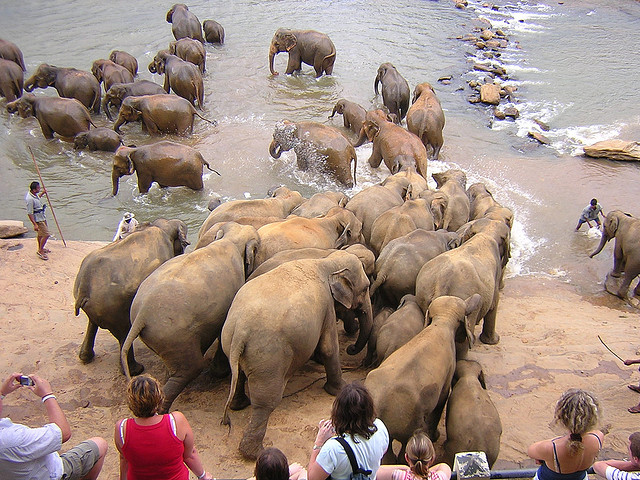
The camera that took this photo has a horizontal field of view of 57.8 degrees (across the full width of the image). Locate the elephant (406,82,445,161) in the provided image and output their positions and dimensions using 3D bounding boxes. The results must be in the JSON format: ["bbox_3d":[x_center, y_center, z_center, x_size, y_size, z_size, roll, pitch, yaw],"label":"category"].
[{"bbox_3d":[2.340,-2.845,12.744,0.637,1.308,2.346,-1,48,9],"label":"elephant"}]

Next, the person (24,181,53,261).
[{"bbox_3d":[-4.317,-0.248,8.911,0.321,1.200,0.537,-8,52,-18],"label":"person"}]

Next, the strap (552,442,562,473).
[{"bbox_3d":[2.121,1.907,5.154,0.041,0.301,0.011,-6,0,-25],"label":"strap"}]

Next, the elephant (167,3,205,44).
[{"bbox_3d":[-3.911,-6.324,16.870,0.625,1.062,1.909,-17,52,-10],"label":"elephant"}]

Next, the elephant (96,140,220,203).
[{"bbox_3d":[-3.047,-1.297,10.596,1.931,1.370,0.677,-4,43,-13],"label":"elephant"}]

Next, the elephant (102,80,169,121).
[{"bbox_3d":[-4.099,-3.035,12.956,1.420,0.989,0.605,0,39,-5],"label":"elephant"}]

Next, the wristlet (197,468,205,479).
[{"bbox_3d":[-1.111,2.213,5.501,0.050,0.079,0.091,21,27,33],"label":"wristlet"}]

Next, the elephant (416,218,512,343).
[{"bbox_3d":[1.887,0.229,7.890,0.756,1.408,2.427,12,34,24],"label":"elephant"}]

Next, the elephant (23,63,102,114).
[{"bbox_3d":[-5.968,-3.446,13.495,1.682,0.995,0.627,15,23,-6],"label":"elephant"}]

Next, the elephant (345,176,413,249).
[{"bbox_3d":[0.930,-0.603,9.316,0.651,1.091,1.465,16,49,29],"label":"elephant"}]

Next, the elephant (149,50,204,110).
[{"bbox_3d":[-3.455,-3.855,13.717,1.515,0.929,0.589,31,42,19],"label":"elephant"}]

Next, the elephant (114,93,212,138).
[{"bbox_3d":[-3.351,-2.593,12.307,1.612,0.985,0.853,2,57,-5],"label":"elephant"}]

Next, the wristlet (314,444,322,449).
[{"bbox_3d":[-0.025,1.814,5.113,0.045,0.033,0.012,0,8,5],"label":"wristlet"}]

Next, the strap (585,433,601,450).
[{"bbox_3d":[2.402,1.759,5.093,0.127,0.052,0.141,-3,68,-29],"label":"strap"}]

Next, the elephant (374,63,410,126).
[{"bbox_3d":[1.784,-3.521,13.928,0.518,0.950,1.746,-6,52,-3],"label":"elephant"}]

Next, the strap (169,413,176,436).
[{"bbox_3d":[-1.293,1.612,5.112,0.082,0.044,0.127,2,74,-22],"label":"strap"}]

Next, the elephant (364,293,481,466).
[{"bbox_3d":[1.191,1.498,6.403,0.564,1.321,1.970,18,37,32],"label":"elephant"}]

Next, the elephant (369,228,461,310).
[{"bbox_3d":[1.192,0.257,7.770,1.485,0.834,0.614,-39,47,-24],"label":"elephant"}]

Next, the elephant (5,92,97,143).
[{"bbox_3d":[-5.611,-2.526,12.126,1.498,0.953,0.594,14,51,10],"label":"elephant"}]

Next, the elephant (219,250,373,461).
[{"bbox_3d":[-0.392,0.802,6.583,0.935,1.647,2.630,22,38,31],"label":"elephant"}]

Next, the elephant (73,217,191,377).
[{"bbox_3d":[-2.267,0.604,7.437,0.891,1.684,2.099,19,25,18],"label":"elephant"}]

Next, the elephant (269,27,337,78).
[{"bbox_3d":[-0.422,-4.915,15.470,1.928,1.411,0.946,20,45,17],"label":"elephant"}]

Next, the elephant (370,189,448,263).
[{"bbox_3d":[1.339,-0.398,8.568,0.584,0.901,1.562,24,50,27],"label":"elephant"}]
